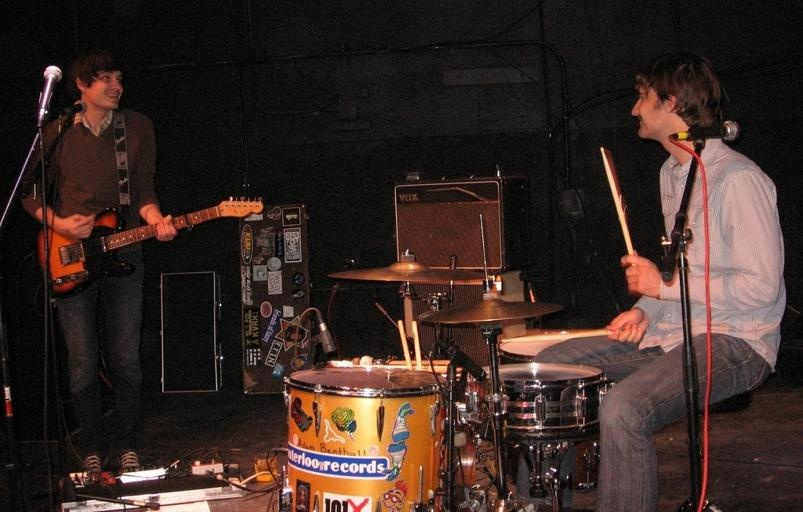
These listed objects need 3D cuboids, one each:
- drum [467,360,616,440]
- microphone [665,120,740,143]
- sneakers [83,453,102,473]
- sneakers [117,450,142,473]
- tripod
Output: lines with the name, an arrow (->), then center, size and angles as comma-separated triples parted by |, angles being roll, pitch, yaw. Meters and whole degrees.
drum -> 0.961, 0.907, 5.482 | 0.765, 0.285, 0.696 | 0, 3, 0
microphone -> 1.827, -0.706, 5.068 | 0.494, 0.136, 0.148 | -4, 4, -4
sneakers -> -2.243, 1.489, 6.220 | 0.137, 0.128, 0.138 | -12, -14, 29
sneakers -> -1.990, 1.494, 6.291 | 0.161, 0.146, 0.154 | -1, -7, 2
tripod -> -2.220, 0.099, 6.349 | 1.286, 3.160, 1.093 | -1, 2, 1
